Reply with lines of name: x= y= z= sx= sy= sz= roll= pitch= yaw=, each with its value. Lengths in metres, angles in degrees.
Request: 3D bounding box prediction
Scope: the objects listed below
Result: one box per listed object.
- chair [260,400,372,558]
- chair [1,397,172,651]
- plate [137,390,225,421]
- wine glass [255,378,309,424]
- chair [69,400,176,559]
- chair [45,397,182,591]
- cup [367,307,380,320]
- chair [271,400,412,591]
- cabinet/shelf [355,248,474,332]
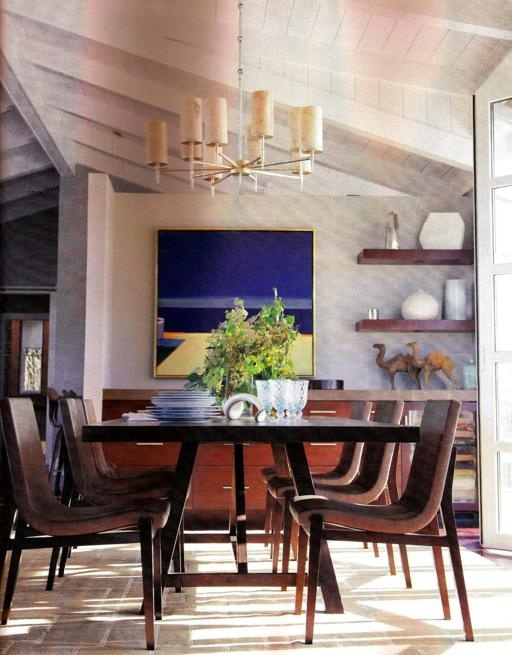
chair: x=0.296 y=0.623 z=3.112 sx=0.514 sy=0.764 sz=0.484 roll=2 pitch=-4 yaw=-3
chair: x=-0.523 y=0.590 z=2.030 sx=0.503 sy=0.744 sz=0.351 roll=2 pitch=-8 yaw=-7
plate: x=-0.257 y=0.267 z=2.333 sx=0.262 sy=0.098 sz=0.279 roll=-1 pitch=-5 yaw=3
wine glass: x=0.090 y=0.277 z=2.547 sx=0.181 sy=0.121 sz=0.177 roll=0 pitch=-11 yaw=-2
chair: x=-0.545 y=0.537 z=2.556 sx=0.516 sy=0.453 sz=0.566 roll=-1 pitch=-4 yaw=-7
chair: x=-0.544 y=0.580 z=2.591 sx=0.500 sy=0.609 sz=0.414 roll=2 pitch=-7 yaw=-11
cup: x=0.874 y=-0.114 z=5.016 sx=0.089 sy=0.078 sz=0.078 roll=0 pitch=-1 yaw=13
chair: x=0.331 y=0.640 z=2.857 sx=0.590 sy=0.761 sz=0.551 roll=3 pitch=-3 yaw=-9
cabinet/shelf: x=1.157 y=-0.274 z=4.930 sx=0.999 sy=0.584 sz=0.247 roll=2 pitch=-3 yaw=-10
